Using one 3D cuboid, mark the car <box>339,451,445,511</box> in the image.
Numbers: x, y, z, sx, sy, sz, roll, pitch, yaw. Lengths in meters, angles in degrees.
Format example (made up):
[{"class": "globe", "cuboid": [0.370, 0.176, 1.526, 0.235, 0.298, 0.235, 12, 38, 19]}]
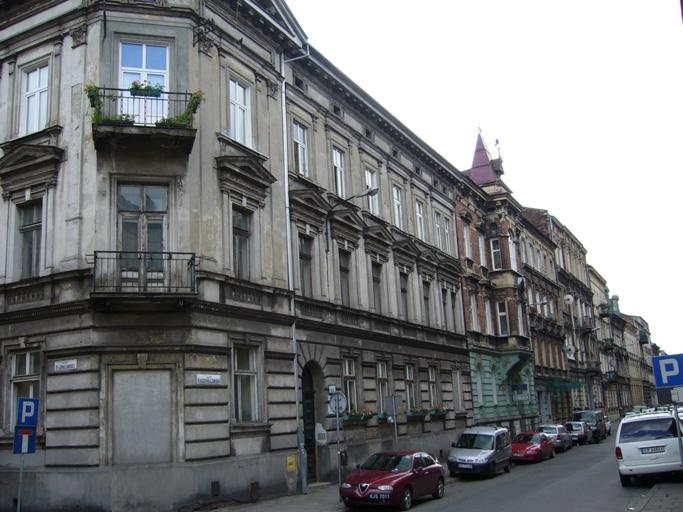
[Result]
[{"class": "car", "cuboid": [1.694, 7.383, 23.238, 1.540, 1.906, 4.007, -18, -23, 39]}]
